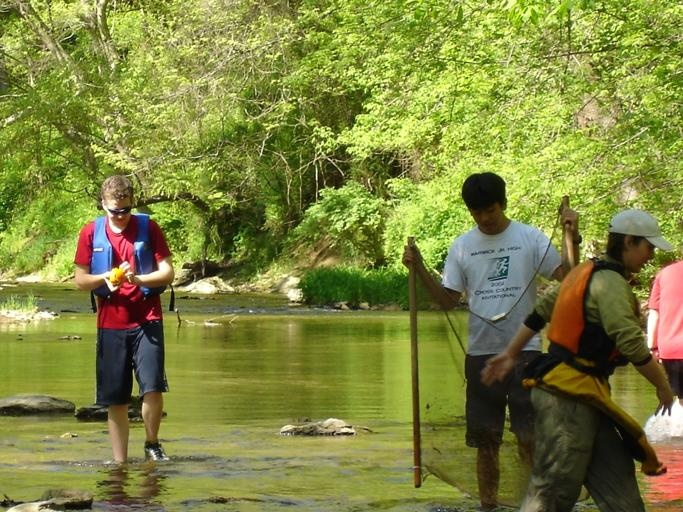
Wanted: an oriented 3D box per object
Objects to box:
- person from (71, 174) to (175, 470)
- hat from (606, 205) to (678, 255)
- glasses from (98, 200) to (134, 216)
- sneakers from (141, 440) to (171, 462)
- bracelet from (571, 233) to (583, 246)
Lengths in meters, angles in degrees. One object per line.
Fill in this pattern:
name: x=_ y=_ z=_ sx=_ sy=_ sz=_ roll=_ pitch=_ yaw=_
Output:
person: x=-1.885 y=0.549 z=8.639 sx=0.812 sy=2.525 sz=0.536 roll=-3 pitch=-2 yaw=-15
hat: x=1.943 y=-0.171 z=6.460 sx=0.473 sy=0.227 sz=0.301 roll=10 pitch=-7 yaw=6
glasses: x=-1.991 y=-0.413 z=8.747 sx=0.250 sy=0.153 sz=0.301 roll=-2 pitch=-2 yaw=-14
sneakers: x=-1.669 y=1.767 z=8.910 sx=0.118 sy=0.115 sz=0.295 roll=2 pitch=-7 yaw=-29
bracelet: x=1.734 y=-0.109 z=7.262 sx=0.082 sy=0.077 sz=0.021 roll=-14 pitch=-49 yaw=41
